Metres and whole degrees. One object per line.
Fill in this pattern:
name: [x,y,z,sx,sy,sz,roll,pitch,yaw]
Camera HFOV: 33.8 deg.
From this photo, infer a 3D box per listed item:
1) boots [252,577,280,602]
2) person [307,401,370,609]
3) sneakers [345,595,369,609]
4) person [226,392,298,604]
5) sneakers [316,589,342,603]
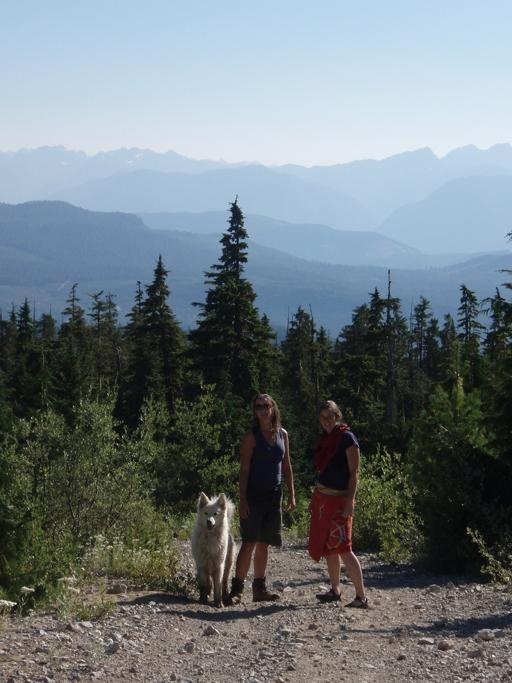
boots: [0.141,2.727,9.322,0.346,0.384,0.158,-1,-1,-8]
person: [0.852,1.698,8.711,0.675,2.032,0.480,1,0,28]
sneakers: [1.053,2.644,8.580,0.197,0.090,0.120,6,-11,-19]
person: [0.017,1.743,9.246,0.575,2.233,0.445,2,0,-2]
sneakers: [0.779,2.667,8.900,0.233,0.124,0.131,3,-4,3]
